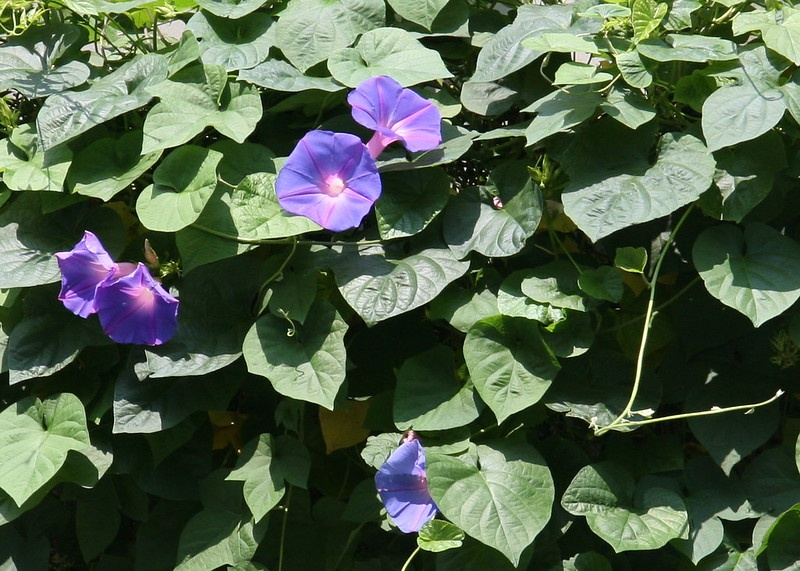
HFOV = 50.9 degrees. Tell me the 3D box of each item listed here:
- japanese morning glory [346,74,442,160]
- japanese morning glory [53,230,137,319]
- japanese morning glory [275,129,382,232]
[{"bbox_3d":[-0.037,-0.501,2.491,0.266,0.165,0.258,-3,-1,-10],"label":"japanese morning glory"},{"bbox_3d":[-0.891,-0.031,2.402,0.153,0.215,0.133,3,37,10],"label":"japanese morning glory"},{"bbox_3d":[-0.202,-0.296,2.353,0.284,0.214,0.202,1,37,7],"label":"japanese morning glory"}]
